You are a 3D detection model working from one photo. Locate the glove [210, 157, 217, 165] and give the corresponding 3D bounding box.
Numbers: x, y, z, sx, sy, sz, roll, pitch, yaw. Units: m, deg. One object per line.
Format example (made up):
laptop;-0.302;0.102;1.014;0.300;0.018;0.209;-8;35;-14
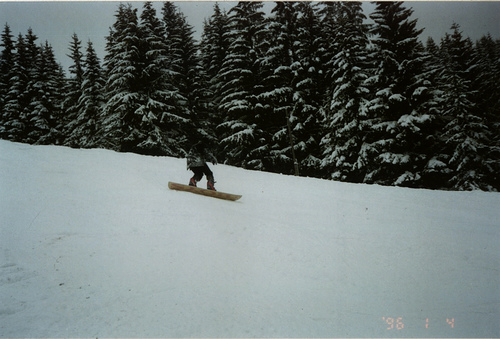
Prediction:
glove;-2.685;-0.600;29.222;0.536;0.210;0.535;6;16;-36
